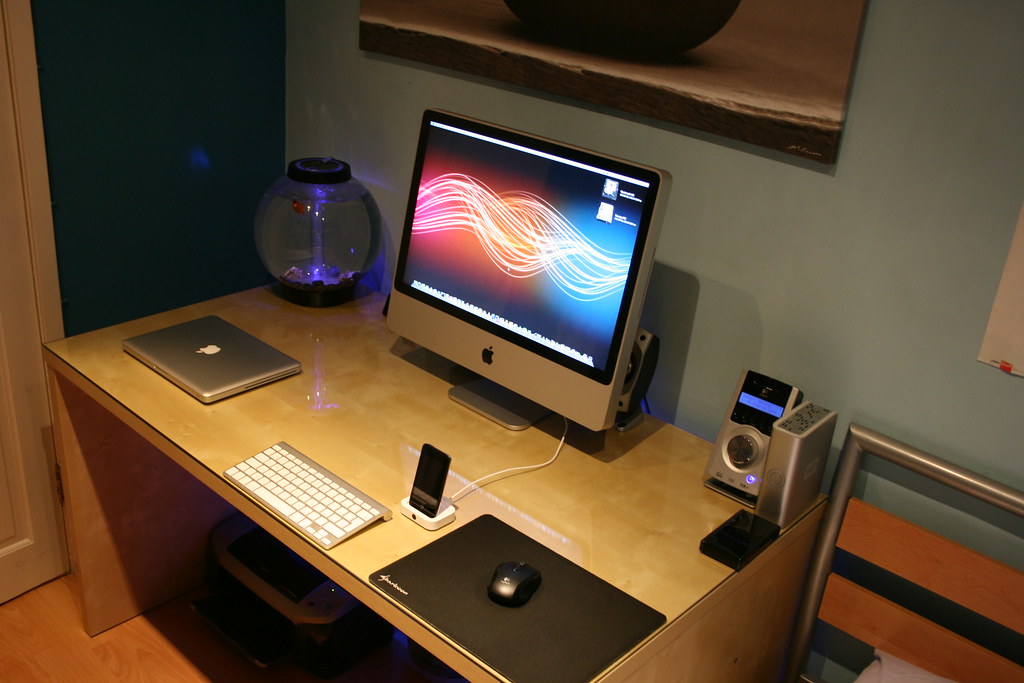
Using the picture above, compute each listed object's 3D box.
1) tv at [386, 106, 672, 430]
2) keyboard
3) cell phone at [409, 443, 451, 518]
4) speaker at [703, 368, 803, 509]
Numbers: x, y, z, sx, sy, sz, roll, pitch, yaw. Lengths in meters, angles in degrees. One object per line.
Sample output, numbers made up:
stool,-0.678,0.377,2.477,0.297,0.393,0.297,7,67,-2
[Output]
tv,0.064,-0.170,1.926,0.664,0.593,0.254,25,39,26
keyboard,-0.459,0.351,1.697,0.349,0.040,0.167,28,43,34
cell phone,-0.180,0.319,1.698,0.105,0.185,0.018,23,18,34
speaker,0.606,0.236,1.901,0.174,0.336,0.100,27,10,29
